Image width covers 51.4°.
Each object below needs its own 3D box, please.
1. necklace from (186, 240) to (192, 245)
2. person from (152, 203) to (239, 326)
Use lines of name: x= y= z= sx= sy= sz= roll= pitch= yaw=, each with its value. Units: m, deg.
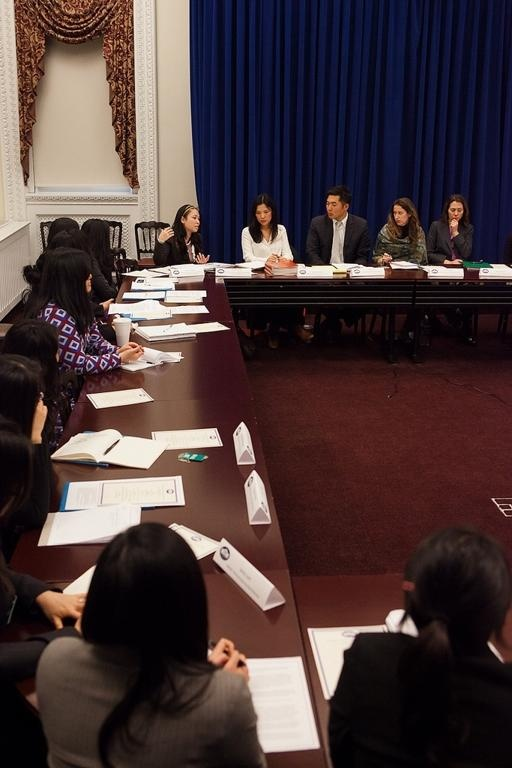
necklace: x=-0.690 y=-1.435 z=5.416 sx=0.039 sy=0.048 sz=0.051 roll=4 pitch=24 yaw=3
person: x=-0.758 y=-1.402 z=5.318 sx=0.605 sy=1.327 sz=0.614 roll=19 pitch=23 yaw=31
